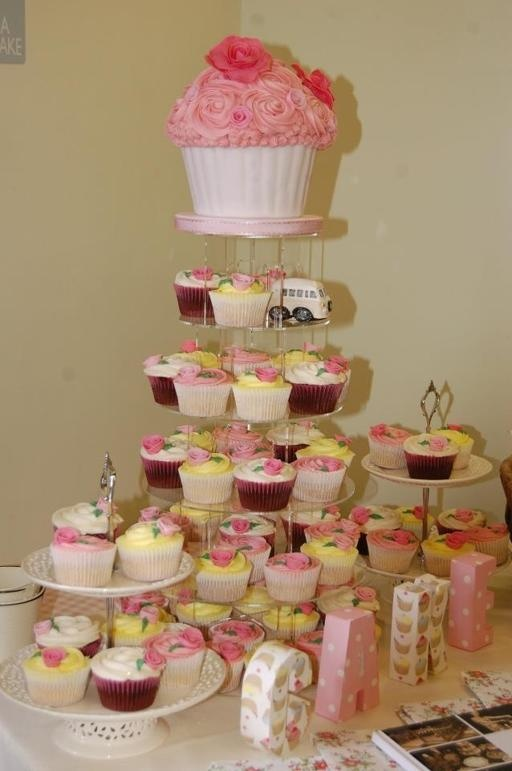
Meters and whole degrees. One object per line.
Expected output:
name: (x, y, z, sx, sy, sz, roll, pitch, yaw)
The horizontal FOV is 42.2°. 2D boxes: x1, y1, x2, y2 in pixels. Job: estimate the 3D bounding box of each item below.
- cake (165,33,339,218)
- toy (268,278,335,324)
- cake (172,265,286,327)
cake: (-0.053, -0.615, 1.706, 0.456, 0.456, 0.466, -3, 18, -13)
toy: (0.143, -0.272, 2.116, 0.247, 0.119, 0.128, 0, 16, 6)
cake: (-0.080, -0.261, 1.741, 0.199, 0.103, 0.235, -4, 13, -30)
